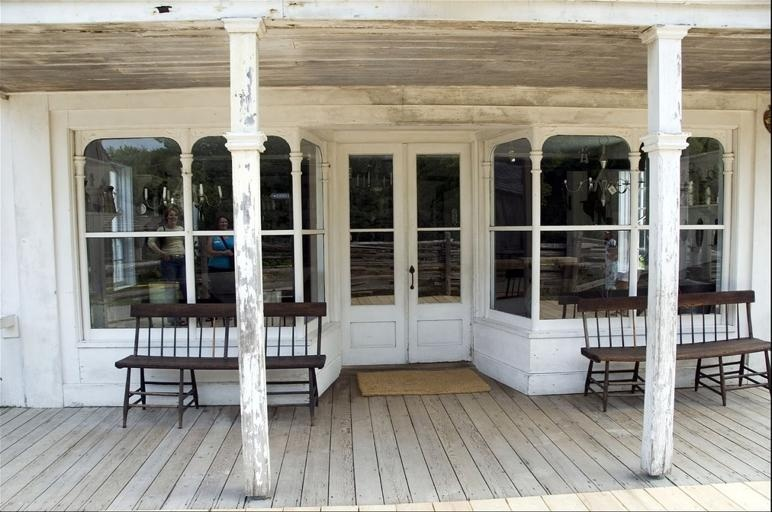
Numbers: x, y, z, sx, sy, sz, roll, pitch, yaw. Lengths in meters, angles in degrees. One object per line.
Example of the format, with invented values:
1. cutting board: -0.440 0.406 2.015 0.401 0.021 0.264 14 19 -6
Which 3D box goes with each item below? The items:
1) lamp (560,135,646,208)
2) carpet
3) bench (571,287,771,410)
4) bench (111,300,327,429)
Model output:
1. lamp: 2.187 -0.850 7.239 0.846 0.789 0.176 -5 5 -16
2. carpet: 0.377 1.340 7.439 1.388 0.171 0.691 -3 4 -4
3. bench: 2.804 0.931 6.888 1.492 0.636 0.459 -1 0 -9
4. bench: -1.620 1.037 6.726 2.004 0.992 0.619 0 11 3
